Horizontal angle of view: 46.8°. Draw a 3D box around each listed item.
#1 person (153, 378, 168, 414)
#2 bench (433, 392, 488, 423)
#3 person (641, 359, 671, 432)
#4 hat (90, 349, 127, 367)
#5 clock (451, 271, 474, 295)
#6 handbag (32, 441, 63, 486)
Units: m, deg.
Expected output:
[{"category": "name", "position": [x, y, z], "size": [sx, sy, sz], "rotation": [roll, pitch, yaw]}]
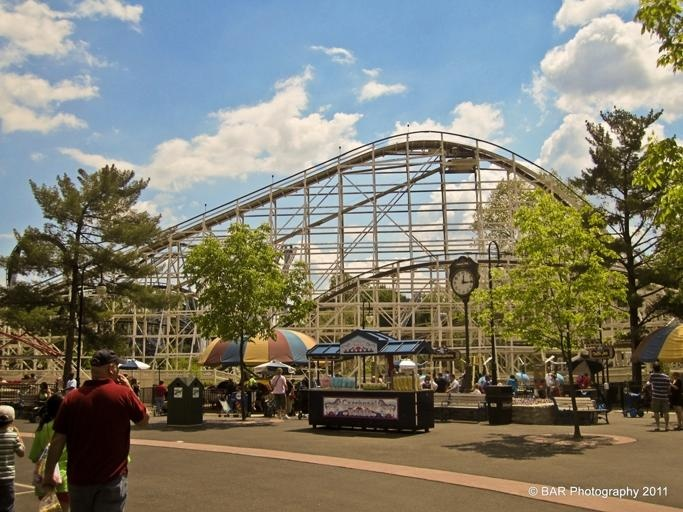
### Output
[{"category": "person", "position": [-7.984, 6.261, 34.565], "size": [0.478, 1.311, 1.348], "rotation": [4, -13, -13]}, {"category": "bench", "position": [4.343, 5.527, 28.905], "size": [2.102, 1.073, 0.843], "rotation": [-9, -16, 36]}, {"category": "person", "position": [9.928, 4.311, 24.533], "size": [0.697, 2.005, 0.640], "rotation": [-3, -4, 34]}, {"category": "hat", "position": [-4.051, 1.722, 13.464], "size": [0.403, 0.219, 0.281], "rotation": [-2, 1, -35]}, {"category": "clock", "position": [4.752, 1.009, 30.589], "size": [0.153, 0.803, 0.768], "rotation": [10, -16, -39]}, {"category": "handbag", "position": [-5.819, 3.926, 14.998], "size": [0.454, 0.391, 0.798], "rotation": [22, 14, 3]}]
